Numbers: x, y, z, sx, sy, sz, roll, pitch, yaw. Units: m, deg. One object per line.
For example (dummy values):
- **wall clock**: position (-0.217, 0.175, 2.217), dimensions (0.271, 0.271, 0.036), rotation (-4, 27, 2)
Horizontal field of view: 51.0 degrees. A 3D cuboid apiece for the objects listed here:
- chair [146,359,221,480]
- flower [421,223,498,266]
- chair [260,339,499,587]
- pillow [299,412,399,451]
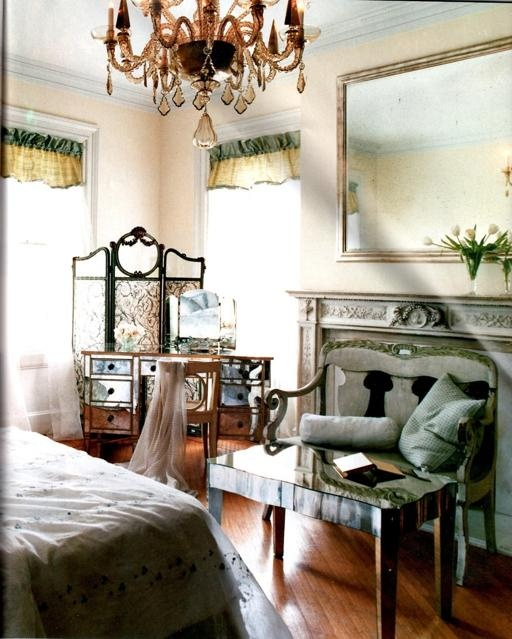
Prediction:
- **chair**: position (-0.252, 0.490, 2.835), dimensions (0.336, 0.503, 0.369), rotation (-8, -12, 42)
- **flower**: position (0.693, -0.266, 1.780), dimensions (0.181, 0.101, 0.201), rotation (-23, 5, 12)
- **chair**: position (0.439, 0.488, 1.795), dimensions (0.305, 0.586, 0.766), rotation (3, -3, -39)
- **pillow**: position (0.344, 0.392, 1.943), dimensions (0.308, 0.115, 0.141), rotation (0, -6, 6)
